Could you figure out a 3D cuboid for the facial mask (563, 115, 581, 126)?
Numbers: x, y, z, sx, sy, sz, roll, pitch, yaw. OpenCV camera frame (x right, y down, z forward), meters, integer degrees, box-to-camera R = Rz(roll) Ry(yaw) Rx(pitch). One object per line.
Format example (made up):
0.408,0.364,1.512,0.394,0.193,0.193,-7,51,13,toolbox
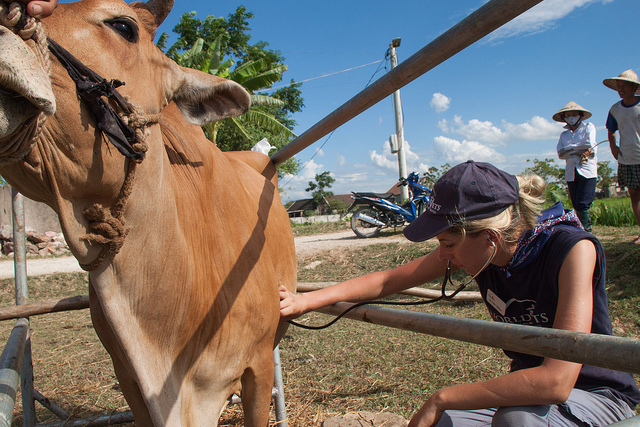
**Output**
3.166,-1.130,6.491,0.115,0.126,0.073,-1,5,34,facial mask

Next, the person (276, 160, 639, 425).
0.827,0.389,2.565,1.399,1.284,0.789,-3,9,12,person
